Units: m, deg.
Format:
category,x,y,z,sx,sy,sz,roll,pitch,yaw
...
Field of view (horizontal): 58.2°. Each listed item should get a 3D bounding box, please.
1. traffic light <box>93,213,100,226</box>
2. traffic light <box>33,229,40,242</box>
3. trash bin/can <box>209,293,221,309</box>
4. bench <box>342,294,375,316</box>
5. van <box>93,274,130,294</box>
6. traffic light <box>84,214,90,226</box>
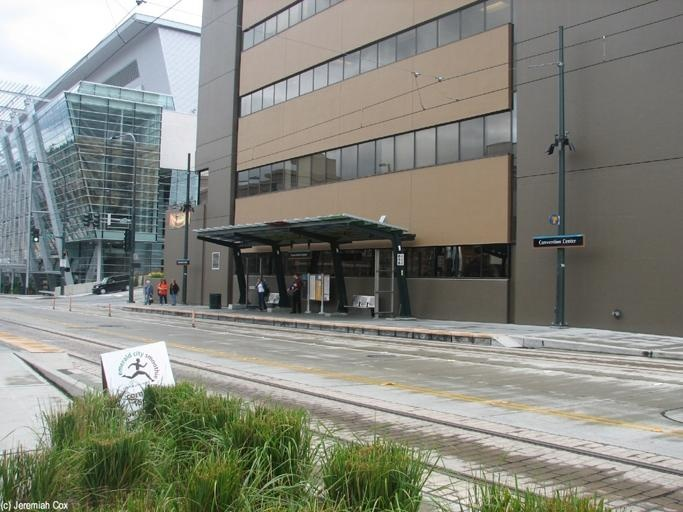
category,x,y,z,sx,sy,sz,roll,pitch,yaw
traffic light,-18.891,-2.755,46.942,0.409,0.926,2.178,0,1,-26
traffic light,-28.991,-1.978,57.992,0.415,1.171,2.529,0,1,-22
trash bin/can,-7.859,2.841,38.009,0.795,0.986,0.839,1,-1,-21
bench,0.913,2.409,29.671,1.269,1.091,3.350,1,0,1
van,-23.900,2.943,63.524,1.778,1.406,2.957,-6,-9,38
traffic light,-19.154,-2.713,46.015,0.418,0.949,1.722,0,1,-26
